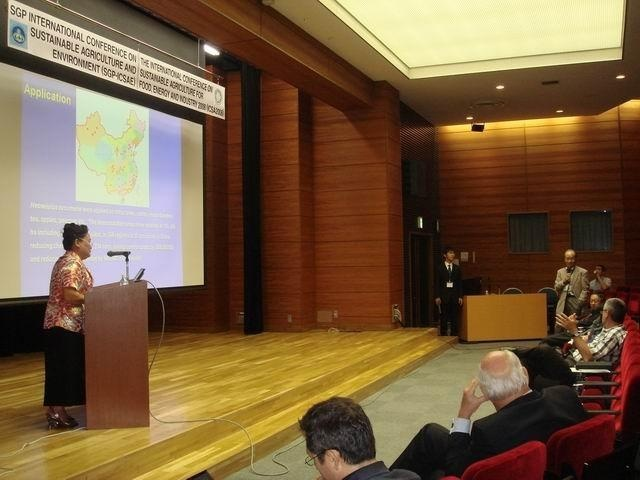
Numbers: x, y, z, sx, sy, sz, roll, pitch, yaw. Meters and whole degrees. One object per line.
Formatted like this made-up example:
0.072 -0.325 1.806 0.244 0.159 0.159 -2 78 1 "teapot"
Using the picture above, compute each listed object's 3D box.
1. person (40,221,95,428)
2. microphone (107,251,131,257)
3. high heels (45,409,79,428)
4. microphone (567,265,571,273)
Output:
-2.178 0.728 4.055 0.375 1.781 0.416 0 -4 -31 "person"
-2.035 0.141 4.712 0.247 0.092 0.074 -1 -3 13 "microphone"
-2.235 1.534 4.088 0.254 0.182 0.146 3 -4 -18 "high heels"
4.928 0.591 9.292 0.081 0.125 0.099 -4 -5 24 "microphone"
